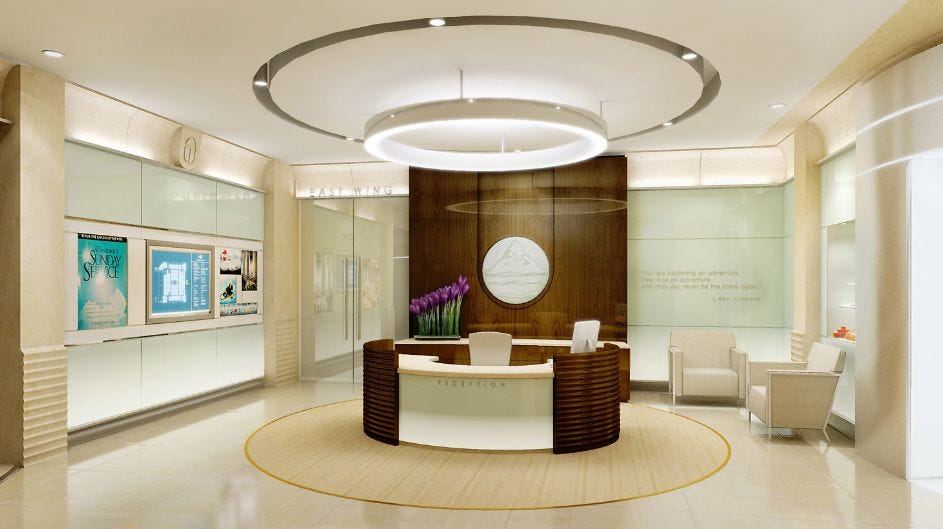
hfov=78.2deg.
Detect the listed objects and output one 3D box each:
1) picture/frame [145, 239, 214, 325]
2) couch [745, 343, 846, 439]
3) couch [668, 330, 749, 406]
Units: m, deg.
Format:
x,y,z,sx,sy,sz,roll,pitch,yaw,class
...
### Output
x,y,z,sx,sy,sz,roll,pitch,yaw,class
-5.061,0.292,10.259,1.415,1.297,0.071,0,0,17,picture/frame
5.146,1.936,9.037,1.516,1.777,1.424,1,-4,9,couch
4.356,1.936,10.772,1.306,1.172,0.935,3,13,13,couch
